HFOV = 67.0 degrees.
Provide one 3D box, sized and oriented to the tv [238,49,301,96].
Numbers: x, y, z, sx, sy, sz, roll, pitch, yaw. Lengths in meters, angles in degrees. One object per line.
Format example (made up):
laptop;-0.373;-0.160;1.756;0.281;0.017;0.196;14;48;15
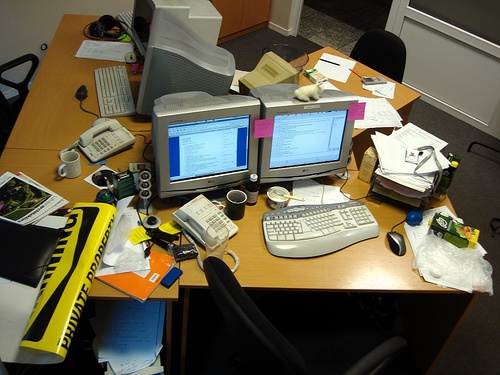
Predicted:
tv;0.104;-0.741;2.580;0.355;0.269;0.357;-27;57;-25

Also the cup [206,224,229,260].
cup;-0.170;0.269;1.923;0.116;0.122;0.149;3;32;-1

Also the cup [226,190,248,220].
cup;-0.056;0.084;2.113;0.100;0.144;0.166;8;28;-3

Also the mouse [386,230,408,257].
mouse;0.780;0.298;2.015;0.074;0.041;0.125;-4;55;-20

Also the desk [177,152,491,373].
desk;0.498;0.545;2.519;1.628;0.928;1.147;0;51;-4

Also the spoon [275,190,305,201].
spoon;0.223;0.052;2.165;0.121;0.015;0.026;15;38;2

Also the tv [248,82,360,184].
tv;0.370;-0.220;2.235;0.530;0.323;0.514;-3;67;24

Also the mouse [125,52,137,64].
mouse;-0.925;-1.001;2.927;0.062;0.094;0.026;-5;-3;-16

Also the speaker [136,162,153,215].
speaker;-0.582;0.001;2.069;0.088;0.194;0.229;-5;33;-13

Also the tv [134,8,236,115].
tv;-0.442;-0.764;2.529;0.656;0.677;0.582;8;48;-13

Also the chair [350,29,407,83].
chair;1.080;-1.083;3.244;0.398;0.468;0.588;15;-2;14

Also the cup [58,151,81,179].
cup;-1.030;-0.108;2.136;0.092;0.110;0.152;19;37;9

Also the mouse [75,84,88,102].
mouse;-1.154;-0.643;2.590;0.076;0.045;0.121;-7;81;-17

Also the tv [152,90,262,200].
tv;-0.278;-0.338;2.161;0.609;0.582;0.459;-9;44;-17

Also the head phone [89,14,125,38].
head phone;-1.201;-1.305;3.185;0.258;0.097;0.223;2;48;-14

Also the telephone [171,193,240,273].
telephone;-0.204;0.234;1.941;0.296;0.112;0.509;-9;42;-32

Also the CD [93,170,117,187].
CD;-0.831;-0.057;2.168;0.110;0.026;0.110;-30;64;-28

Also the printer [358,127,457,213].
printer;0.976;-0.180;2.311;0.462;0.210;0.584;20;50;28

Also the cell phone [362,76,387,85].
cell phone;0.981;-0.846;2.998;0.148;0.026;0.090;0;44;-5
